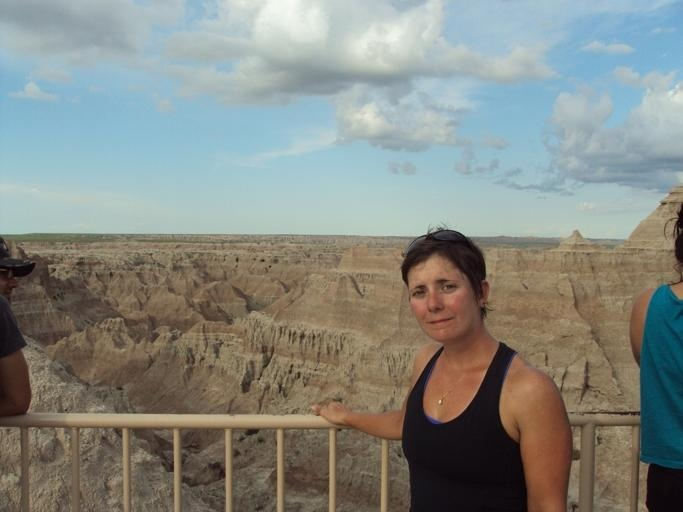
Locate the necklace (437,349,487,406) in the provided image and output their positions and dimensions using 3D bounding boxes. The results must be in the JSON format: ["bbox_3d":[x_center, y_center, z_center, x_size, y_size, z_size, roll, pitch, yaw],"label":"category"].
[{"bbox_3d":[0.886,0.897,4.015,0.297,0.286,0.076,14,17,20],"label":"necklace"}]
